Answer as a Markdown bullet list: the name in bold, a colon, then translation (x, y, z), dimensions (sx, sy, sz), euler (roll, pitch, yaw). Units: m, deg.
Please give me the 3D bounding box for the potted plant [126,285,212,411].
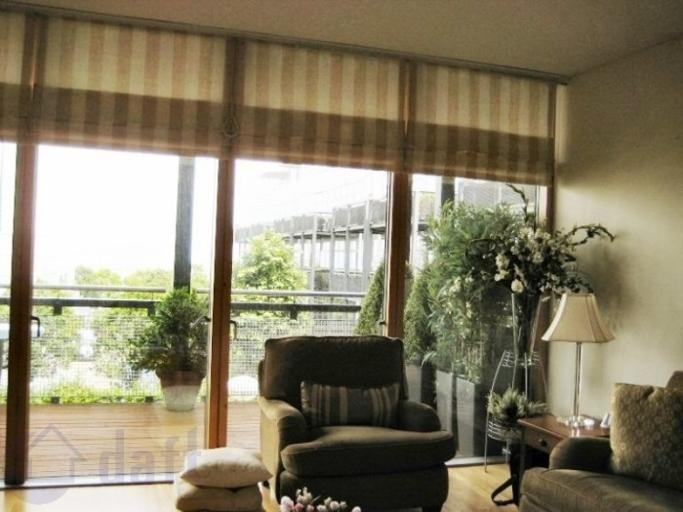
- **potted plant**: translation (-1.419, 0.742, 5.677), dimensions (0.751, 1.131, 0.955), euler (1, -7, -21)
